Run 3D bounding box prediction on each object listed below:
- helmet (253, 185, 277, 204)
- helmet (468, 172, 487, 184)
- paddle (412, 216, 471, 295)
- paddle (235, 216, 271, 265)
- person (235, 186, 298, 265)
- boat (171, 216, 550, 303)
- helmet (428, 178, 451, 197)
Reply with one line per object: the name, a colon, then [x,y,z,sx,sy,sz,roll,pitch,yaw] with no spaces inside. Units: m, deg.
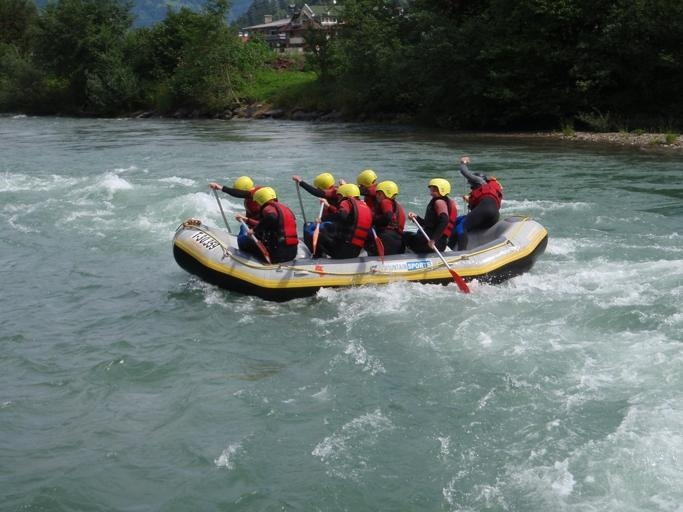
helmet: [-1.369,-1.068,11.860,0.453,0.251,0.297,15,26,23]
helmet: [2.702,-1.540,13.455,0.298,0.090,0.299,0,14,-9]
paddle: [1.790,-0.038,11.913,0.510,1.336,1.068,-17,21,-34]
paddle: [-1.514,-0.263,12.040,0.719,0.827,0.340,-18,-10,25]
person: [-1.293,-0.531,11.821,0.969,1.318,0.540,-6,18,-6]
boat: [0.427,0.182,12.143,5.210,0.679,2.268,-1,8,-5]
helmet: [1.806,-1.246,12.369,0.358,0.330,0.598,-1,14,7]
